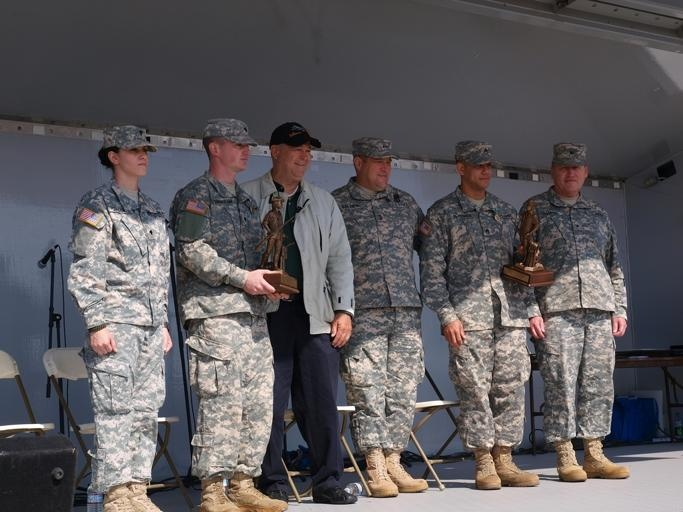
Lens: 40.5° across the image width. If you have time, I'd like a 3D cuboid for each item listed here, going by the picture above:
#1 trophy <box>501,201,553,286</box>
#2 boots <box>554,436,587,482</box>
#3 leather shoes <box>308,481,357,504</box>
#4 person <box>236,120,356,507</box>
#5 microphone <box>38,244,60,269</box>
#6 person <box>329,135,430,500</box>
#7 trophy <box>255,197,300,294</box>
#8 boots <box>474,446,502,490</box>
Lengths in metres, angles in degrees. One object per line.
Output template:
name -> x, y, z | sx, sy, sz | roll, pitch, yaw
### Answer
trophy -> 1.346, -0.107, 6.571 | 0.304, 0.634, 0.357 | -3, -3, 42
boots -> 1.631, 1.441, 6.560 | 0.211, 0.280, 0.269 | -2, -3, 12
leather shoes -> -0.060, 1.532, 6.006 | 0.279, 0.112, 0.129 | -5, -5, 23
person -> -0.217, 0.393, 6.279 | 0.833, 2.383, 0.693 | 5, -3, -24
microphone -> -2.212, -0.008, 6.935 | 0.161, 0.184, 0.165 | 0, -3, -17
person -> 0.282, 0.400, 6.438 | 0.675, 2.409, 0.621 | 5, -3, -19
trophy -> -0.410, -0.085, 5.839 | 0.285, 0.590, 0.267 | 1, -2, 39
boots -> 1.002, 1.460, 6.346 | 0.160, 0.263, 0.158 | -1, -2, 4
